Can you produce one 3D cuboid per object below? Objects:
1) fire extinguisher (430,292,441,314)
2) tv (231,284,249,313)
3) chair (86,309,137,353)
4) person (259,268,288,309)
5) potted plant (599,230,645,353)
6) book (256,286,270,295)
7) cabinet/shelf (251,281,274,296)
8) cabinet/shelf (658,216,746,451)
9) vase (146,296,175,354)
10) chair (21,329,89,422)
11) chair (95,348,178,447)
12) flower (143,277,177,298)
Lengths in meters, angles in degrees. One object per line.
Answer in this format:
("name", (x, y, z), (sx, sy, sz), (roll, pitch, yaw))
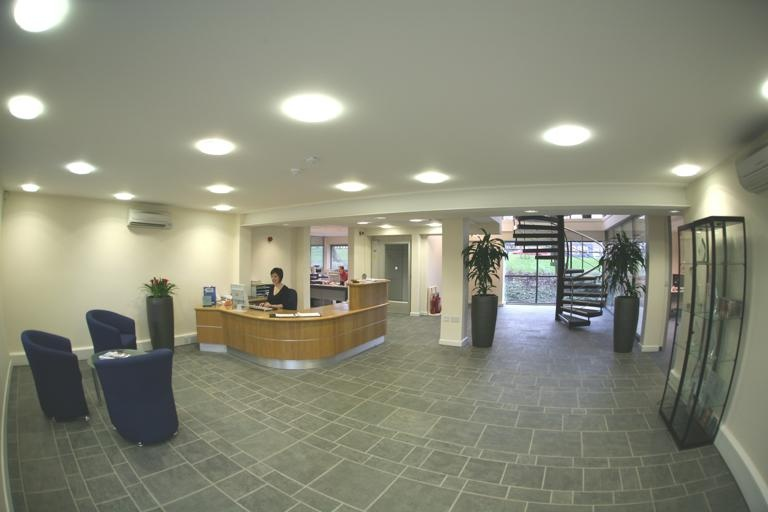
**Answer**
("fire extinguisher", (1.458, 1.361, 12.994), (0.232, 0.545, 0.364), (5, 15, 18))
("tv", (-2.736, 0.811, 8.503), (0.498, 0.548, 0.214), (3, 7, 30))
("chair", (-4.551, 1.284, 7.579), (0.644, 0.695, 1.258), (-9, 16, -30))
("person", (-2.162, 0.577, 8.725), (0.400, 0.804, 0.651), (-4, 15, -15))
("potted plant", (4.616, 0.680, 8.905), (0.819, 2.310, 1.106), (8, 17, 27))
("book", (-2.560, 0.719, 9.569), (0.209, 0.194, 0.301), (0, -2, 6))
("cabinet/shelf", (-2.684, 0.709, 9.622), (0.436, 0.139, 0.440), (1, 2, 37))
("cabinet/shelf", (3.937, 0.894, 5.512), (0.648, 2.758, 1.125), (6, 16, 22))
("vase", (-4.280, 1.274, 8.689), (0.473, 1.060, 0.482), (-8, 17, -27))
("chair", (-4.634, 1.708, 6.291), (0.830, 1.272, 1.025), (-8, 12, -41))
("chair", (-2.987, 1.754, 5.551), (0.807, 1.143, 0.421), (-9, 17, -31))
("flower", (-4.375, 0.613, 8.814), (0.476, 0.299, 0.450), (1, -2, -22))
